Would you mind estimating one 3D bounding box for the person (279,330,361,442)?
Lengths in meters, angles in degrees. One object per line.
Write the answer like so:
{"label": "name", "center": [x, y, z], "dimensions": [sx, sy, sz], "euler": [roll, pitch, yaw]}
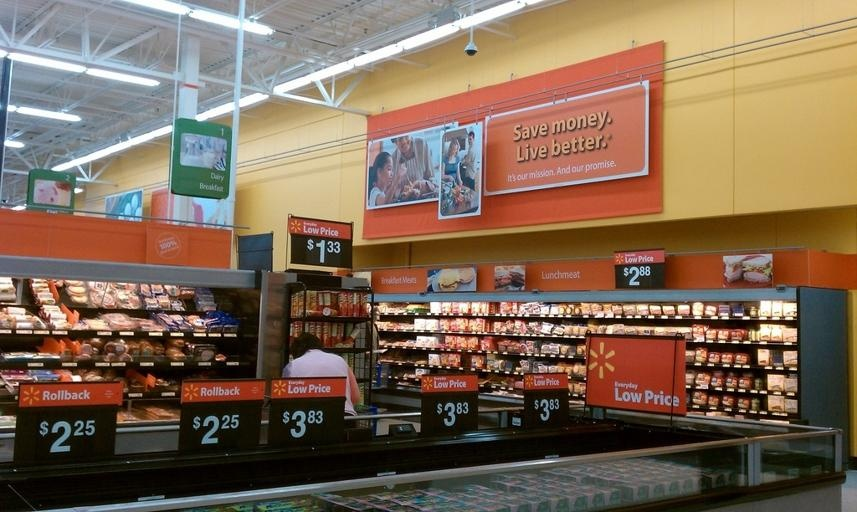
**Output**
{"label": "person", "center": [-1.044, 1.335, 7.324], "dimensions": [0.809, 0.993, 1.335], "euler": [3, -9, -25]}
